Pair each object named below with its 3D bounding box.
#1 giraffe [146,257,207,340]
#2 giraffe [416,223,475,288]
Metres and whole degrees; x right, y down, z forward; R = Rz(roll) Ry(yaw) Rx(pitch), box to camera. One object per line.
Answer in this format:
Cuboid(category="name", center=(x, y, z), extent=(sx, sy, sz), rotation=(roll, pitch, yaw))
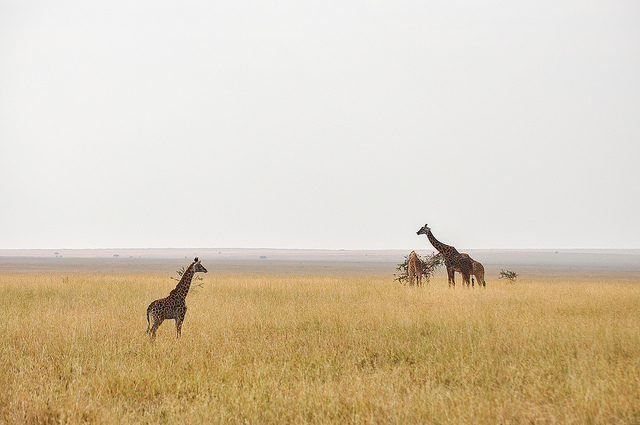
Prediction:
Cuboid(category="giraffe", center=(-4.991, 2.980, 24.085), extent=(1.758, 2.726, 1.237), rotation=(1, -7, -14))
Cuboid(category="giraffe", center=(7.053, 2.432, 37.694), extent=(2.934, 3.212, 1.341), rotation=(2, -7, -25))
